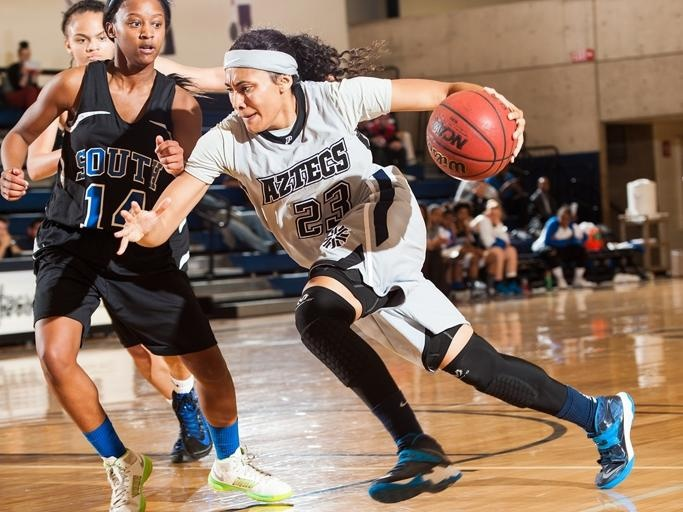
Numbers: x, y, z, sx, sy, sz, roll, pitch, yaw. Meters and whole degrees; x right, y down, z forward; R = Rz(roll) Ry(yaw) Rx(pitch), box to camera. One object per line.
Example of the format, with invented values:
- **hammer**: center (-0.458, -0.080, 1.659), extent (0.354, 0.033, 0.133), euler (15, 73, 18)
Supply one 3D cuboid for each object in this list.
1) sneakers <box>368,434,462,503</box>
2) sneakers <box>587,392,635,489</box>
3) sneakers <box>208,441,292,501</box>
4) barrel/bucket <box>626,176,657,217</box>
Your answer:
- **sneakers**: center (0.203, 0.601, 1.915), extent (0.257, 0.189, 0.109), euler (-7, 6, -26)
- **sneakers**: center (0.933, 0.614, 2.349), extent (0.174, 0.334, 0.122), euler (9, -12, -21)
- **sneakers**: center (-0.338, 0.795, 2.510), extent (0.353, 0.143, 0.115), euler (3, 6, 23)
- **barrel/bucket**: center (4.707, -0.875, 10.724), extent (0.546, 0.544, 0.544), euler (-6, 6, 1)
